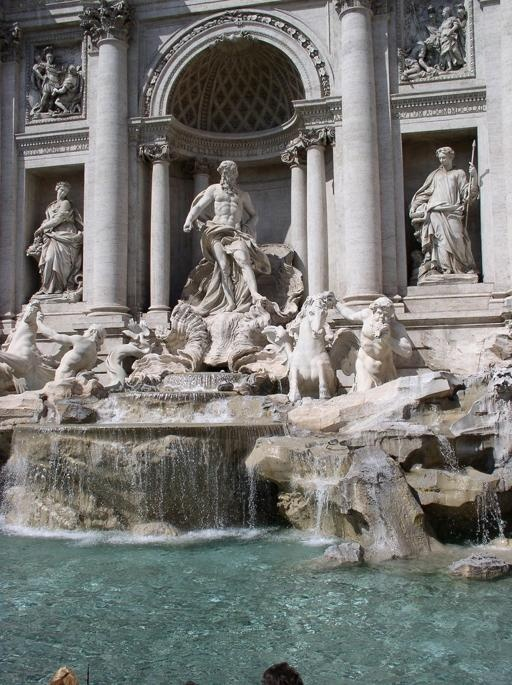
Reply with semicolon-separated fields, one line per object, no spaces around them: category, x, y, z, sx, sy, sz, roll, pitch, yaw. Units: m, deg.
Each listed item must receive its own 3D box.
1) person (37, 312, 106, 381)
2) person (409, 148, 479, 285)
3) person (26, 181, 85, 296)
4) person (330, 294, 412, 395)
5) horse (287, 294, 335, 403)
person;-3.713;0.362;12.268;1.218;1.658;0.828;2;-29;6
person;4.081;-2.728;13.552;1.402;2.837;0.650;-3;-6;14
person;-5.073;-2.602;15.988;1.223;2.943;0.596;0;-6;-11
person;1.921;0.096;10.552;1.397;1.807;0.704;24;34;32
horse;0.901;0.072;10.102;0.790;1.757;1.112;-2;-6;5
